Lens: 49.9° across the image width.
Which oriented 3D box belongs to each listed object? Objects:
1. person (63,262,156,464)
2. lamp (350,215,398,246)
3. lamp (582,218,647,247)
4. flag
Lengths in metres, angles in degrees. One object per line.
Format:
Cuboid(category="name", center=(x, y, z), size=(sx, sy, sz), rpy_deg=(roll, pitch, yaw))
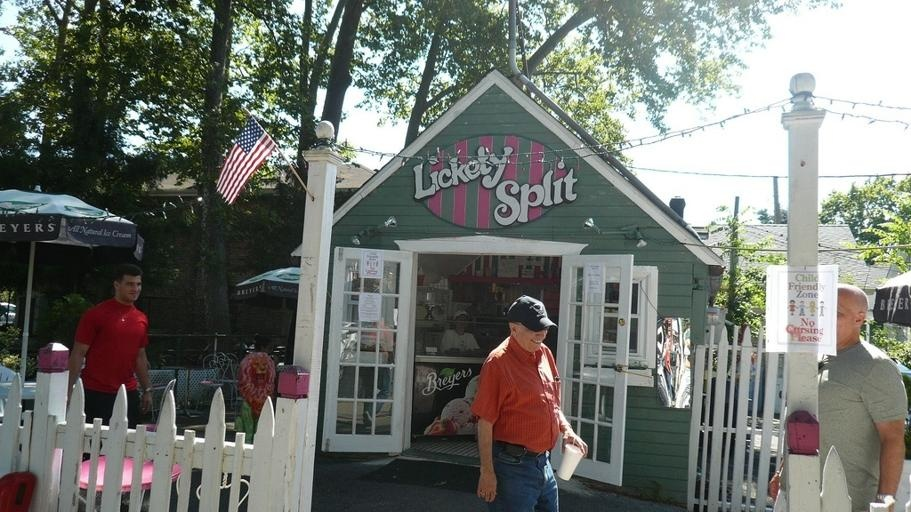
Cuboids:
Cuboid(category="person", center=(-7.083, 2.143, 20.246), size=(1.608, 4.009, 0.677), rpy_deg=(4, -6, -18))
Cuboid(category="lamp", center=(-1.957, -0.590, 23.918), size=(1.225, 0.425, 0.512), rpy_deg=(-26, -40, 2))
Cuboid(category="lamp", center=(3.837, -0.531, 22.933), size=(1.610, 0.715, 0.569), rpy_deg=(-1, -23, 12))
Cuboid(category="flag", center=(-4.114, -1.909, 19.355), size=(0.989, 1.697, 0.369), rpy_deg=(0, -6, 18))
